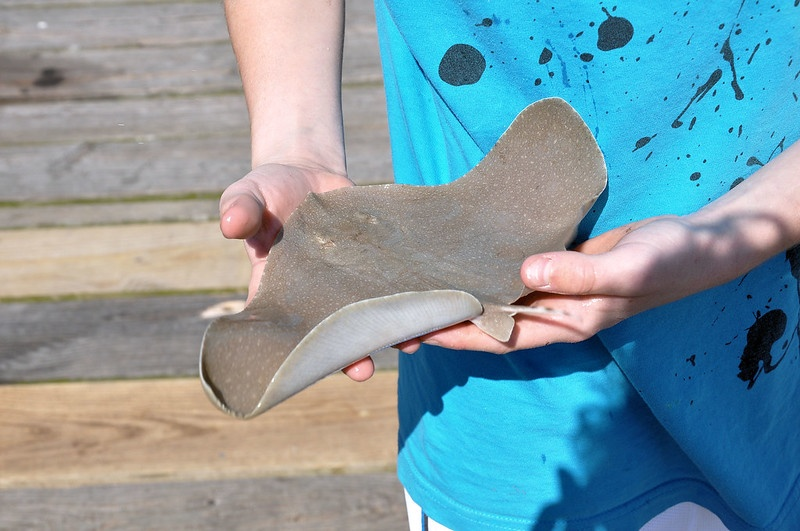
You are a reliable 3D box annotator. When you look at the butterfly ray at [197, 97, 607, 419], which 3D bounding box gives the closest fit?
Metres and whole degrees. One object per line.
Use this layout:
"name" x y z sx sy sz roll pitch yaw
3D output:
"butterfly ray" 0.009 -0.047 2.860 1.031 0.524 0.481 -7 45 -17
